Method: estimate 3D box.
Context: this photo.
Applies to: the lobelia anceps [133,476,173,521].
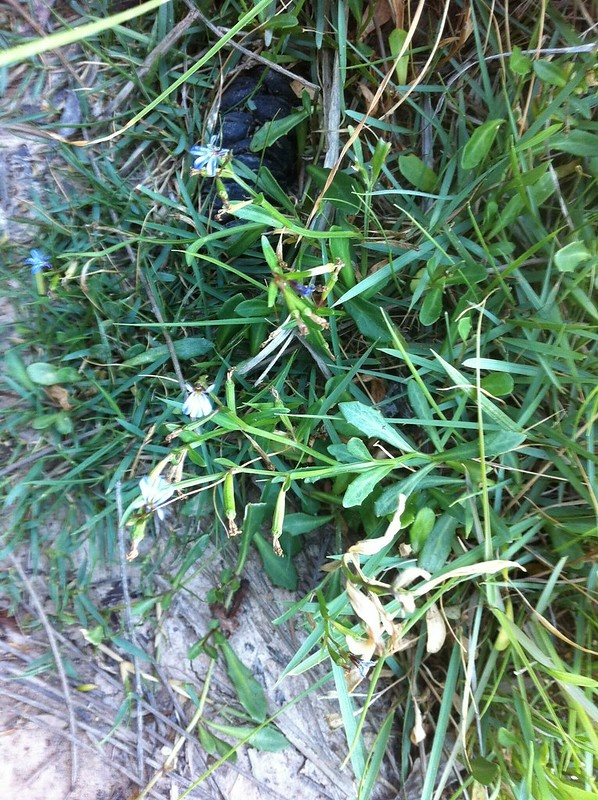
[{"bbox_3d":[-0.190,0.124,0.874,0.047,0.079,0.048,27,80,3],"label":"lobelia anceps"}]
